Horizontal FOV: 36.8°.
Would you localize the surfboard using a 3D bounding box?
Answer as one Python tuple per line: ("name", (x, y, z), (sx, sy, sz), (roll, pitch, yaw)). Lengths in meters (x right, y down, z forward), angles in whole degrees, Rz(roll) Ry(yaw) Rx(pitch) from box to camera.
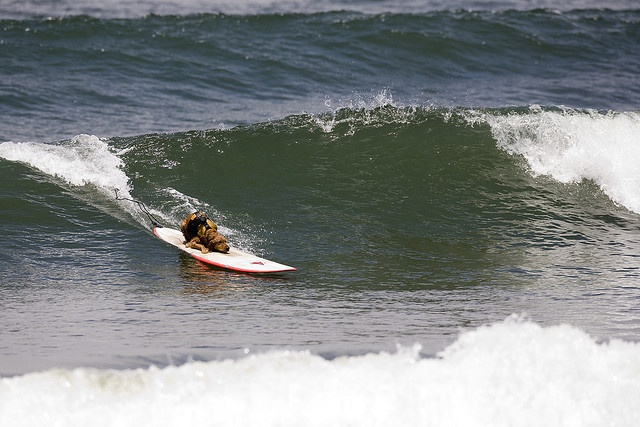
("surfboard", (-2.593, 0.878, 23.993), (4.426, 0.327, 1.212), (10, 12, 36))
